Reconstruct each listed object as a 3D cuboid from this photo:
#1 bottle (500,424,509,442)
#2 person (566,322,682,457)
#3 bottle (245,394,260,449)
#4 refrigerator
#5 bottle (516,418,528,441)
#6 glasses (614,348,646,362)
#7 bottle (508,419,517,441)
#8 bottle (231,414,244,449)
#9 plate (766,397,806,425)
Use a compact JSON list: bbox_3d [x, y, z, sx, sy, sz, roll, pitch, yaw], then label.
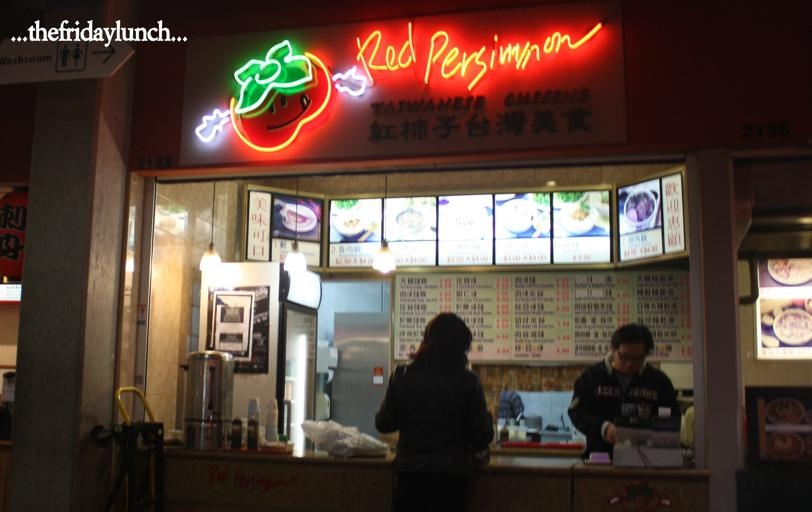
[{"bbox_3d":[1.068,1.923,8.642,0.119,0.183,0.398,0,-9,6],"label":"bottle"},{"bbox_3d":[1.769,1.109,6.491,0.860,1.086,0.351,-1,-9,11],"label":"person"},{"bbox_3d":[-1.290,1.431,6.742,0.104,0.420,0.248,2,-9,-10],"label":"bottle"},{"bbox_3d":[-1.456,1.046,8.230,1.308,1.935,0.978,4,-9,-22],"label":"refrigerator"},{"bbox_3d":[1.258,1.889,8.627,0.103,0.213,0.439,-1,-9,8],"label":"bottle"},{"bbox_3d":[1.835,0.812,6.490,0.236,0.107,0.105,-1,-9,11],"label":"glasses"},{"bbox_3d":[1.163,1.903,8.692,0.089,0.213,0.319,0,-9,7],"label":"bottle"},{"bbox_3d":[-1.445,1.508,6.776,0.116,0.261,0.229,2,-9,-12],"label":"bottle"},{"bbox_3d":[2.893,1.186,6.063,0.280,0.193,0.044,0,-9,1],"label":"plate"}]
